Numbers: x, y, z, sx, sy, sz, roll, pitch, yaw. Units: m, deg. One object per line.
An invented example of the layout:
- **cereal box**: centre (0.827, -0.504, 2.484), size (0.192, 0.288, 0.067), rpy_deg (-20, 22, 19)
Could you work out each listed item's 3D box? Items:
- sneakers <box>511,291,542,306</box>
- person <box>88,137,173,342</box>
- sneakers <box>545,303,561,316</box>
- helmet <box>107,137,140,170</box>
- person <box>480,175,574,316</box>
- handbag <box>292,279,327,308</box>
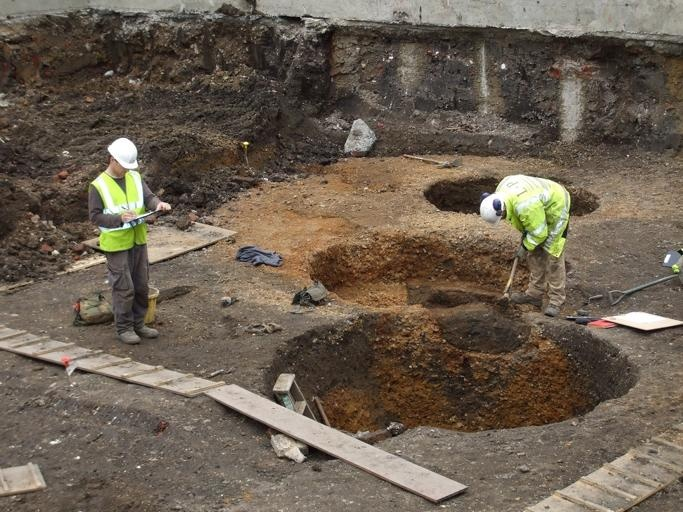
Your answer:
- **sneakers**: centre (2.411, 0.555, 11.037), size (0.445, 0.155, 0.150), rpy_deg (8, 21, 5)
- **person**: centre (-2.423, -0.168, 9.511), size (0.621, 2.357, 0.658), rpy_deg (5, 17, 21)
- **sneakers**: centre (2.707, 0.686, 10.613), size (0.189, 0.116, 0.318), rpy_deg (-1, -3, 21)
- **helmet**: centre (-2.436, -1.130, 9.243), size (0.283, 0.357, 0.232), rpy_deg (-5, 15, -13)
- **person**: centre (2.377, -0.122, 10.519), size (1.240, 1.799, 0.736), rpy_deg (-15, 21, -42)
- **handbag**: centre (-0.399, 0.493, 10.472), size (0.401, 0.117, 0.268), rpy_deg (-16, 49, -24)
